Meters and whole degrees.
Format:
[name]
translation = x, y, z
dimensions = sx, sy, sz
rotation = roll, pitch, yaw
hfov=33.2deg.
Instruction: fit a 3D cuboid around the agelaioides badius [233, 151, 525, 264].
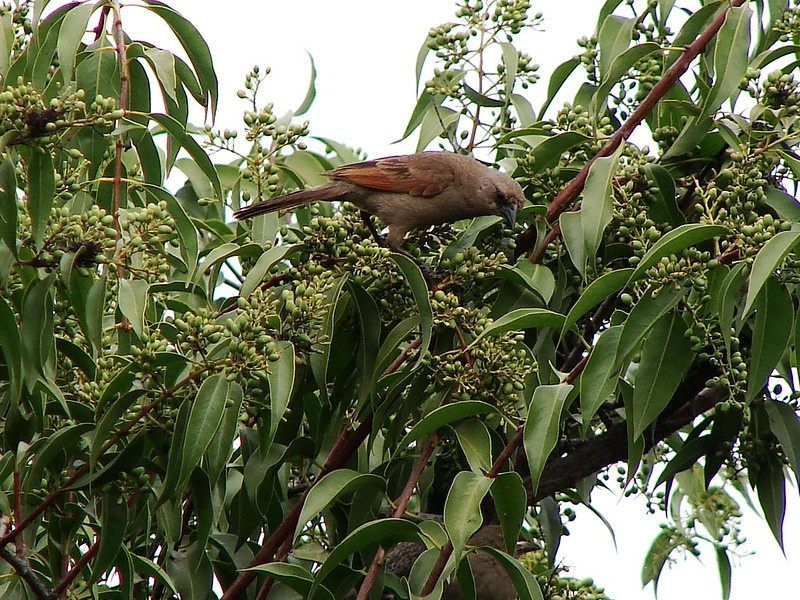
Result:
[agelaioides badius]
translation = -0.082, -0.416, 5.818
dimensions = 1.192, 0.557, 0.343
rotation = 7, -1, 14
